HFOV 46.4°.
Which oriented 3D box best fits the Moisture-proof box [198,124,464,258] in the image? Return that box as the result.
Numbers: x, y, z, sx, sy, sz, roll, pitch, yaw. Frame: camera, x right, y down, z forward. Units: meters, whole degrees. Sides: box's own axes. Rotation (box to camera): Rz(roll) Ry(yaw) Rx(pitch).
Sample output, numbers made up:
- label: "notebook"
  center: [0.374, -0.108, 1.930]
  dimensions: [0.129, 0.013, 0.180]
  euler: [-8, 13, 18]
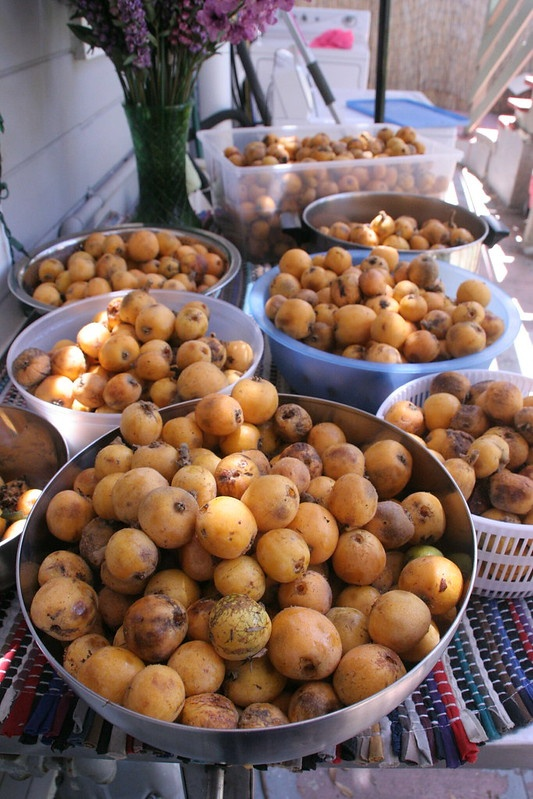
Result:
- label: "Moisture-proof box"
  center: [0.208, -0.680, 2.260]
  dimensions: [0.863, 0.298, 0.555]
  euler: [-4, 35, -9]

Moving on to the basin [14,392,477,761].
- label: "basin"
  center: [-0.021, 0.228, 0.911]
  dimensions: [0.619, 0.231, 0.581]
  euler: [1, 39, -1]

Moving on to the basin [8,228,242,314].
- label: "basin"
  center: [-0.386, -0.372, 1.696]
  dimensions: [0.403, 0.090, 0.381]
  euler: [0, 35, 0]
